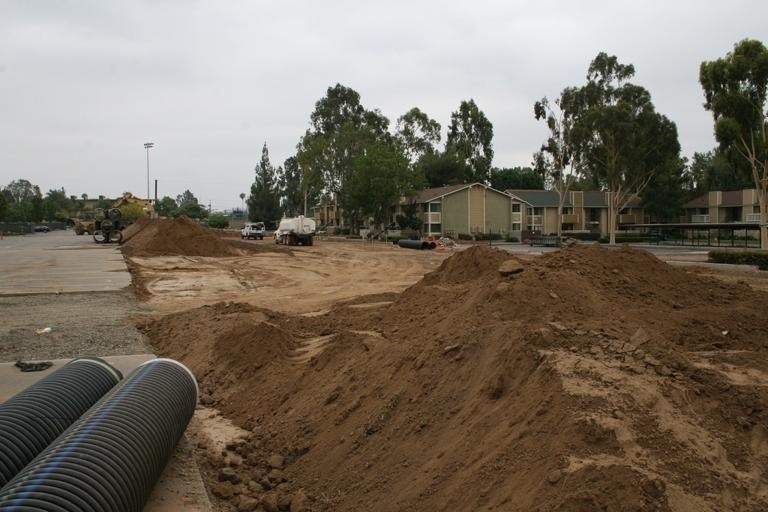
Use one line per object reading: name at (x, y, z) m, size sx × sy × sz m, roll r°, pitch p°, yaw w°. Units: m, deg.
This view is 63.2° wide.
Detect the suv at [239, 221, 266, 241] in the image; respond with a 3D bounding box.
suv at (-12.592, -2.419, 59.360) m, size 2.249 × 1.434 × 1.462 m, roll 3°, pitch 4°, yaw 38°

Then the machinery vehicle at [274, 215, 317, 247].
machinery vehicle at (-6.611, -1.894, 45.913) m, size 1.780 × 1.807 × 3.322 m, roll -1°, pitch 7°, yaw -21°
